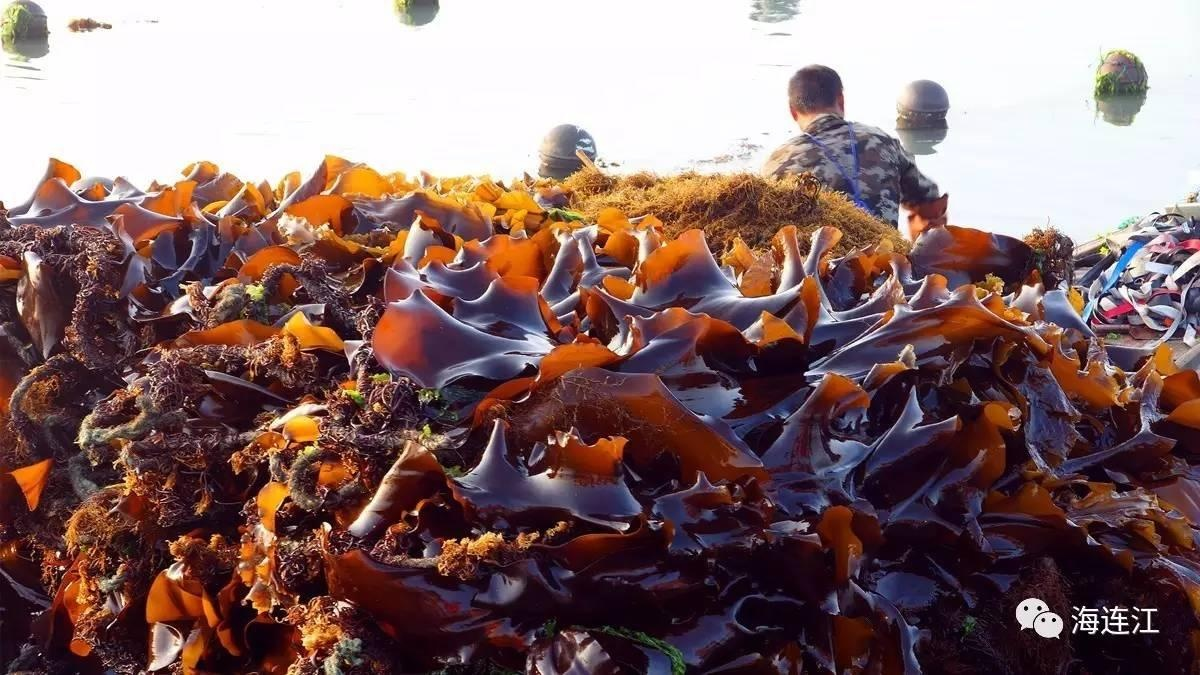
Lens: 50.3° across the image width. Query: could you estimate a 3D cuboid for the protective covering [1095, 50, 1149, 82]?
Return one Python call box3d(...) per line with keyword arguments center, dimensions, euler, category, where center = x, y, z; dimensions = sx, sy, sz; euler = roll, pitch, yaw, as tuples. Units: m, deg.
box3d(center=(5.275, -2.770, 12.772), dimensions=(0.449, 0.346, 0.633), euler=(-1, -13, 20), category="protective covering")
